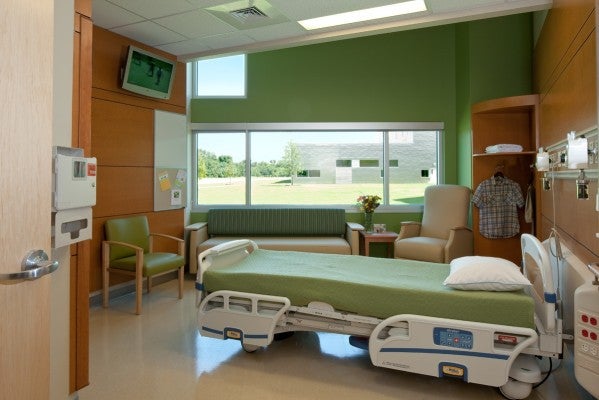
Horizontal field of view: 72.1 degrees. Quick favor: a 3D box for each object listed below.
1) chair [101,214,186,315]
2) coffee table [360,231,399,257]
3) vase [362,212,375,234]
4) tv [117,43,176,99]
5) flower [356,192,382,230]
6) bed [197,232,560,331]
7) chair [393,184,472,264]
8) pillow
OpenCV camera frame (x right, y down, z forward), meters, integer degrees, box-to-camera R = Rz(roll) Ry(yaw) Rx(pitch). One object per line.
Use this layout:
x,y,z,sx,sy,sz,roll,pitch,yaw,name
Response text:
-2.155,0.821,5.680,0.868,1.145,1.061,6,13,31,chair
1.298,0.666,6.801,0.568,0.511,0.549,0,-2,-7,coffee table
1.149,0.349,6.853,0.146,0.327,0.292,1,12,11,vase
-2.218,-1.844,5.878,0.099,0.641,0.908,21,11,25,tv
1.168,0.258,6.965,0.423,0.501,0.385,-5,3,-22,flower
0.584,0.907,4.248,3.121,0.863,1.007,2,12,14,bed
2.078,0.477,6.399,1.014,1.359,1.017,3,6,43,chair
1.759,0.687,3.954,0.777,0.240,0.821,-3,3,12,pillow
